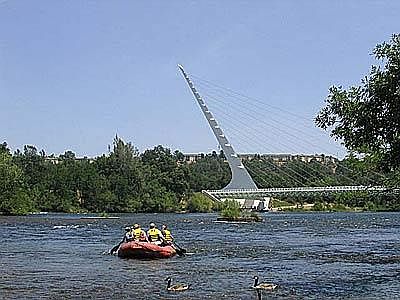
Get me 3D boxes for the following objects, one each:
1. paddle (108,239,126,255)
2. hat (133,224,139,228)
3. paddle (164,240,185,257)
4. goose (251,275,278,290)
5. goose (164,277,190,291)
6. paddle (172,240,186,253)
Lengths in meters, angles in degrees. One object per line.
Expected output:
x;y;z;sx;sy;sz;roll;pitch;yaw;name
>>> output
-4.511;5.356;29.433;1.226;0.681;0.246;-44;3;33;paddle
-3.408;4.124;28.167;0.216;0.270;0.282;3;-6;-15;hat
-1.268;5.552;29.020;0.212;0.524;1.818;-11;-39;30;paddle
2.728;5.510;21.743;1.022;0.566;1.509;-2;-7;-3;goose
-0.931;5.684;21.419;1.081;0.753;0.414;4;-50;-2;goose
-1.185;5.838;31.205;0.127;1.166;0.172;-12;-22;-31;paddle
